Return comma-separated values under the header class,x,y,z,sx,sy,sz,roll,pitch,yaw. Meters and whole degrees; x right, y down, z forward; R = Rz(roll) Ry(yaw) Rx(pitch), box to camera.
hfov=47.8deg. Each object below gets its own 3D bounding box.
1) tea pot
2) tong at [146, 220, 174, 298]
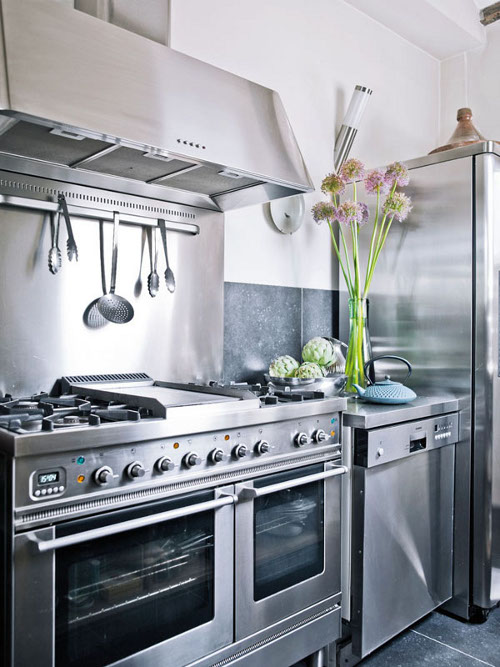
class,x,y,z,sx,sy,sz,roll,pitch,yaw
tea pot,0.466,0.168,1.983,0.216,0.179,0.172,0,-6,9
tong,-0.295,-0.251,1.866,0.064,0.176,0.130,-3,4,29
